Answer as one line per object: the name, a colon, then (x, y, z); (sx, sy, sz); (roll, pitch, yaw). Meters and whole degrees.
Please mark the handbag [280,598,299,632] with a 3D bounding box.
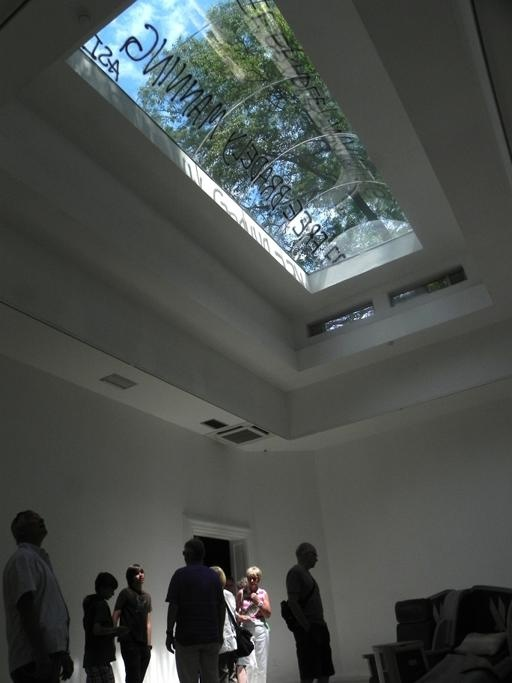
handbag: (0.213, 1.769, 3.301); (0.064, 0.192, 0.137); (-9, -4, -9)
